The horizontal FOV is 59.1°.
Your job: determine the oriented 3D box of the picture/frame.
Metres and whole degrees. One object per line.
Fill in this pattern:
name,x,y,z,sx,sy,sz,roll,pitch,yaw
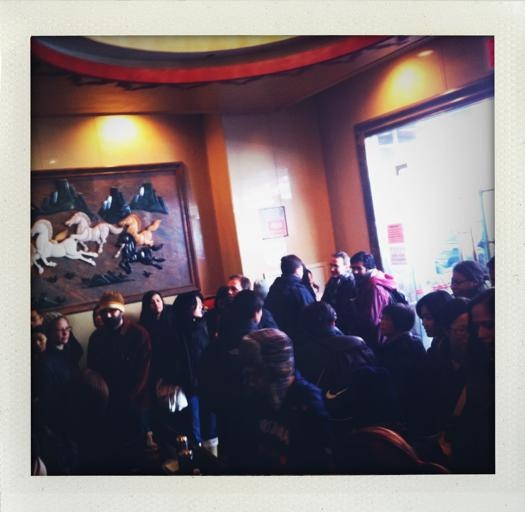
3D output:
picture/frame,-1.450,-0.086,4.364,1.426,1.195,0.095,-3,-1,-3

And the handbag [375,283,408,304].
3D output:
handbag,1.228,0.371,4.301,0.168,0.164,0.115,-3,-7,-3

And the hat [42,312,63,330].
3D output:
hat,-1.941,0.610,4.292,0.149,0.125,0.119,-6,-2,-1

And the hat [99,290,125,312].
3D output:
hat,-1.415,0.428,4.343,0.188,0.160,0.193,-2,0,-7
